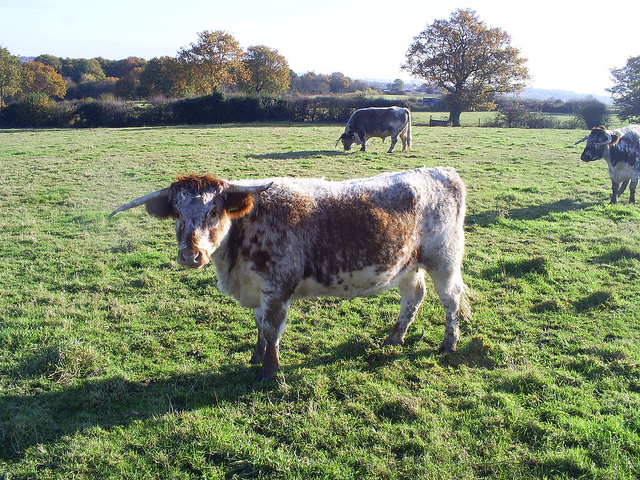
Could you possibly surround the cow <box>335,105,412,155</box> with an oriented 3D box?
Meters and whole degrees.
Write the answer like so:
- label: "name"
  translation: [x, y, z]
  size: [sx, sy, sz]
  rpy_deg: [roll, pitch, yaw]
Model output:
- label: "cow"
  translation: [2.678, -5.265, 29.123]
  size: [3.063, 2.119, 2.549]
  rpy_deg: [4, 14, 4]
